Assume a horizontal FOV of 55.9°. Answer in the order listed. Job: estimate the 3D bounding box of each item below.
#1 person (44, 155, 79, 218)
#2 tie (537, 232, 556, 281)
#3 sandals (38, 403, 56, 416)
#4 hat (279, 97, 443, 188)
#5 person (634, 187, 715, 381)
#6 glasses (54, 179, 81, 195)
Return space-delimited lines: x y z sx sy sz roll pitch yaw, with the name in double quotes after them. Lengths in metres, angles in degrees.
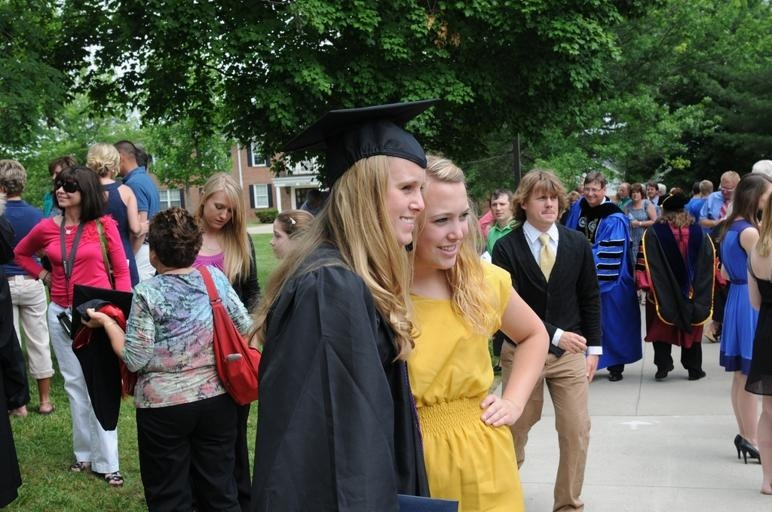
-4.097 -0.809 9.205 0.405 0.828 0.326 6 -15 -33 "person"
1.540 0.015 6.930 0.114 0.484 0.067 -4 -29 14 "tie"
-4.121 1.871 8.836 0.083 0.106 0.248 4 4 -4 "sandals"
-0.166 -0.558 4.621 0.798 0.398 0.643 -5 -2 -41 "hat"
4.293 0.478 10.712 1.145 2.643 1.000 2 14 2 "person"
-3.159 -0.687 7.210 0.228 0.123 0.059 2 14 1 "glasses"
